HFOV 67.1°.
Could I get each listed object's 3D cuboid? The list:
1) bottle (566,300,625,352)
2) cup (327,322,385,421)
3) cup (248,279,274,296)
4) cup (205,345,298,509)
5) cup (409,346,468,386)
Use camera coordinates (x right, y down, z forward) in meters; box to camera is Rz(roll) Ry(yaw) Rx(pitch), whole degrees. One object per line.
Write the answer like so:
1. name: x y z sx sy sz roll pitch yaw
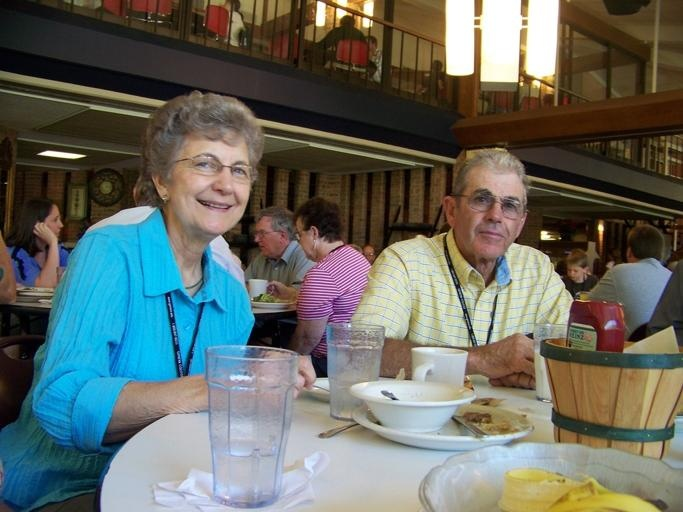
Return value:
1. bottle: 0.392 0.112 0.797 0.081 0.074 0.092 3 3 26
2. cup: 0.038 0.267 1.149 0.141 0.201 0.139 3 -10 1
3. cup: -0.646 0.256 3.966 0.119 0.126 0.149 -2 -7 28
4. cup: -0.130 0.248 0.741 0.128 0.211 0.062 1 4 -15
5. cup: 0.218 0.243 1.156 0.078 0.073 0.122 1 -1 37
